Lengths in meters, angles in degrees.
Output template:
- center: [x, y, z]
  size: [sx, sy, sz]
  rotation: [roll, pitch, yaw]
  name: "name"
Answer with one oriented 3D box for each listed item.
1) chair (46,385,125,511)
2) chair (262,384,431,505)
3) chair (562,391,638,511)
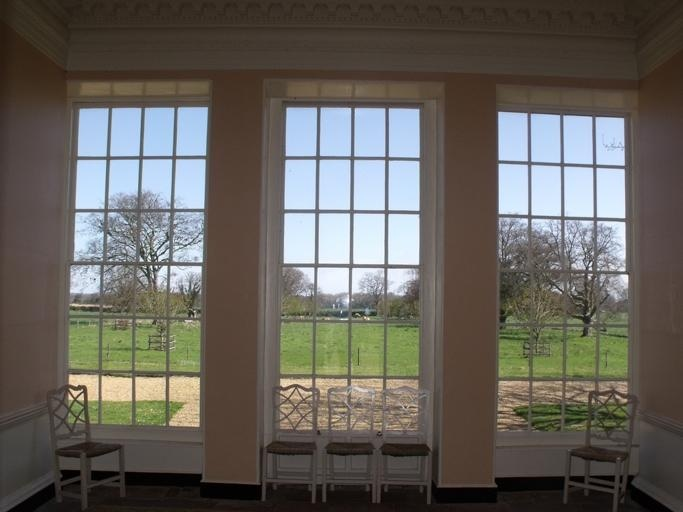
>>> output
- center: [-2.452, 1.767, 6.401]
  size: [0.803, 1.078, 0.622]
  rotation: [0, -2, 29]
  name: "chair"
- center: [0.057, 1.789, 6.483]
  size: [1.619, 1.072, 0.603]
  rotation: [1, -1, 8]
  name: "chair"
- center: [2.514, 1.817, 6.455]
  size: [0.603, 1.088, 0.862]
  rotation: [0, -2, 38]
  name: "chair"
